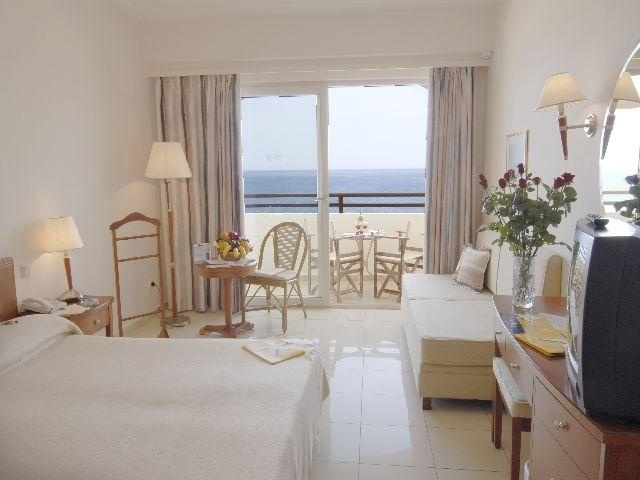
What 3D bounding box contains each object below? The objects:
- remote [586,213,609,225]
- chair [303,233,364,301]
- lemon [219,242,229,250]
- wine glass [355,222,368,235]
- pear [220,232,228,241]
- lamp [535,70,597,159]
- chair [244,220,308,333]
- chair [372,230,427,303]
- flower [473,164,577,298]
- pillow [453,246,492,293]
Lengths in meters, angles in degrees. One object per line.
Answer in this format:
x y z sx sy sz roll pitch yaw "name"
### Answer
1.078 -0.083 1.888 0.069 0.046 0.135 1 10 13 "remote"
0.209 0.303 5.918 0.504 0.772 0.521 4 7 33 "chair"
-0.859 0.048 4.344 0.059 0.036 0.062 -5 20 -12 "lemon"
0.518 -0.151 5.951 0.140 0.172 0.145 -2 6 -16 "wine glass"
-0.869 -0.041 4.441 0.082 0.091 0.049 -11 -5 -7 "pear"
1.416 -0.702 2.796 0.291 0.481 0.261 -6 5 -2 "lamp"
-0.440 0.331 4.941 0.603 1.046 0.640 5 6 37 "chair"
0.859 0.329 6.013 0.494 0.717 0.506 2 1 22 "chair"
1.138 -0.057 2.662 0.452 0.612 0.500 10 -4 -21 "flower"
1.335 0.248 4.257 0.097 0.330 0.328 16 3 -21 "pillow"
